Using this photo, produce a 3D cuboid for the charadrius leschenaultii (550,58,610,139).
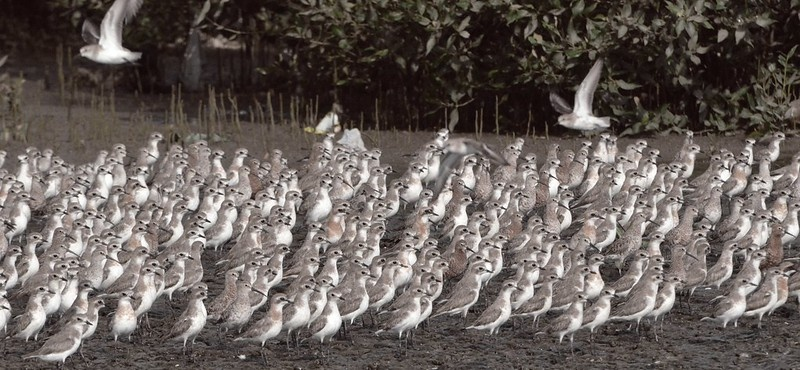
[{"bbox_3d":[5.733,-2.755,36.311,1.448,2.504,2.562,2,2,28],"label":"charadrius leschenaultii"}]
